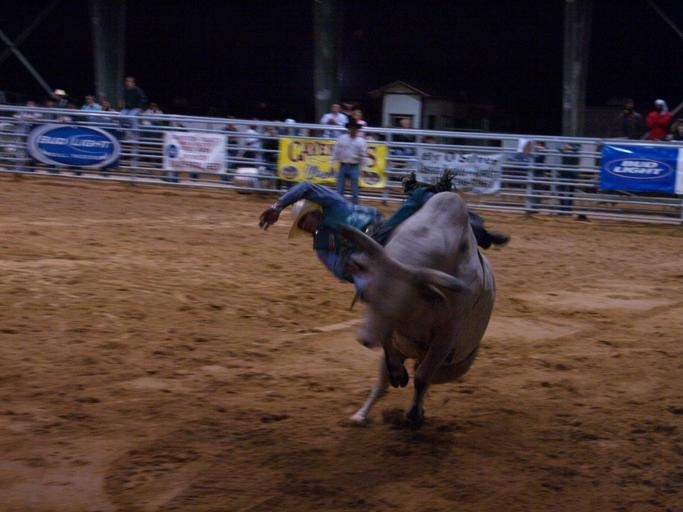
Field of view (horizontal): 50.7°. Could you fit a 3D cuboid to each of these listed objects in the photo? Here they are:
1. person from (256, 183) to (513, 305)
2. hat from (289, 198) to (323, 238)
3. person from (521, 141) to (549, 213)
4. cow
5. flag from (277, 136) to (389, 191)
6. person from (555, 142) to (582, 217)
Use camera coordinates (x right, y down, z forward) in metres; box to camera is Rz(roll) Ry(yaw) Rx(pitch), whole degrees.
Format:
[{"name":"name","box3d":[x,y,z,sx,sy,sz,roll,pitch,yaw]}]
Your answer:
[{"name":"person","box3d":[0.455,-0.169,5.972,1.415,0.607,2.185,-15,15,-39]},{"name":"hat","box3d":[-0.348,-0.317,6.193,0.266,0.329,0.177,11,12,44]},{"name":"person","box3d":[4.240,-1.717,15.889,0.541,1.587,0.779,6,10,12]},{"name":"cow","box3d":[0.614,0.517,6.155,0.976,2.136,1.176,8,10,23]},{"name":"flag","box3d":[-0.212,-1.981,15.493,3.069,0.963,0.054,11,20,41]},{"name":"person","box3d":[4.931,-1.700,15.751,0.418,1.497,0.933,7,10,15]}]
